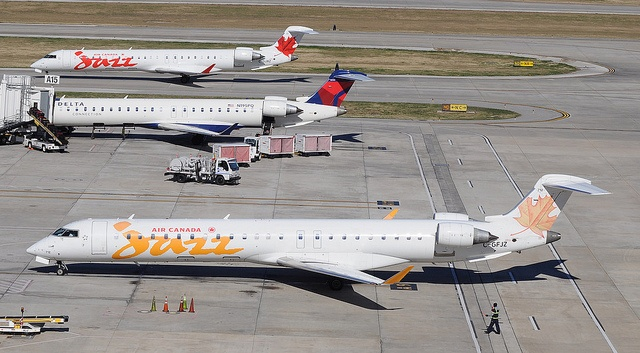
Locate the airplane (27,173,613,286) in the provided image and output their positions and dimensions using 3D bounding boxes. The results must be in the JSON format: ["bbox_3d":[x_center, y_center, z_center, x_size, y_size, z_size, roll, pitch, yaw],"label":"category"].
[{"bbox_3d":[-0.297,5.437,69.251,47.727,12.164,5.186,2,39,-5],"label":"airplane"}]

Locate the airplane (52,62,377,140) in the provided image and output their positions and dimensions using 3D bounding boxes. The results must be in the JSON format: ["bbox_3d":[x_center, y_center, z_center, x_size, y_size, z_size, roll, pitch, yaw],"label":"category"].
[{"bbox_3d":[-14.929,-9.403,95.676,37.035,11.260,4.247,2,39,-6],"label":"airplane"}]

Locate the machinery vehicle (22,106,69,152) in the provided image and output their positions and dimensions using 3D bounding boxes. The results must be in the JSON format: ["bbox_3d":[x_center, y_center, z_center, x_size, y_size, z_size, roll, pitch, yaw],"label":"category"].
[{"bbox_3d":[-35.665,-6.006,93.039,4.230,4.900,5.689,-12,36,-28],"label":"machinery vehicle"}]

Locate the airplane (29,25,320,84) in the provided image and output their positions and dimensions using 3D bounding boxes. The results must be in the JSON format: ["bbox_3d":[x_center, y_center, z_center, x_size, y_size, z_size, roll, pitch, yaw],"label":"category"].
[{"bbox_3d":[-24.395,-19.912,119.074,45.479,5.854,27.965,-3,8,-10],"label":"airplane"}]

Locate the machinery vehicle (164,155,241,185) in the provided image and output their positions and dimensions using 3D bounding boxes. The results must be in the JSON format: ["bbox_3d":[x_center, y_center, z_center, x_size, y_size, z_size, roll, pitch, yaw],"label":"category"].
[{"bbox_3d":[-17.831,-0.836,86.193,7.486,3.332,13.971,1,1,-38],"label":"machinery vehicle"}]
